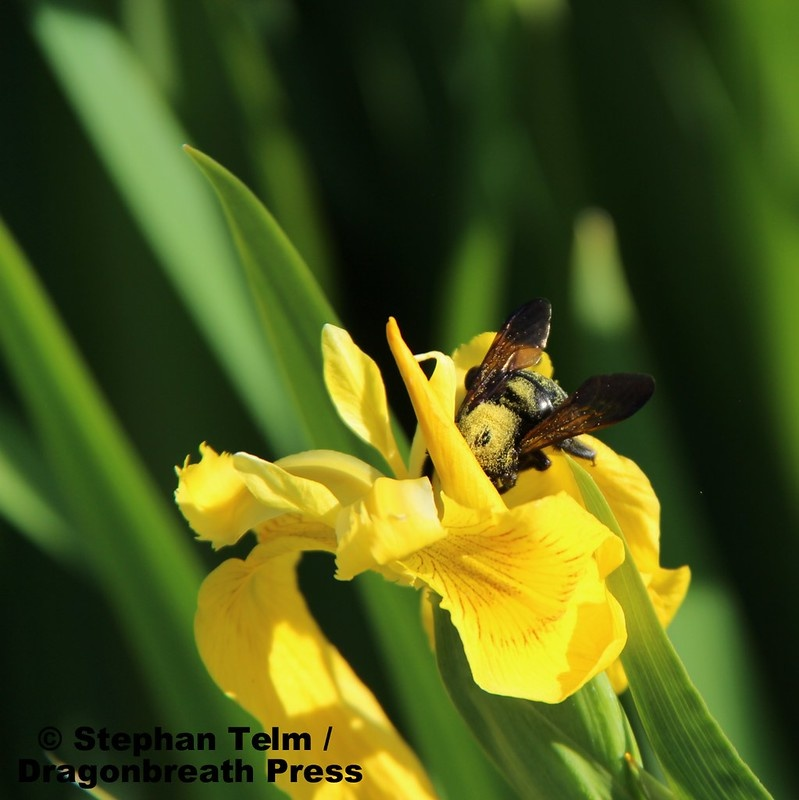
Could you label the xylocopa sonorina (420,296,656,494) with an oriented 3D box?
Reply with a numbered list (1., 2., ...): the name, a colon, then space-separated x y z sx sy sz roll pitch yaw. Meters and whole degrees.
1. xylocopa sonorina: 0.061 0.003 0.457 0.099 0.034 0.073 -38 64 -25
